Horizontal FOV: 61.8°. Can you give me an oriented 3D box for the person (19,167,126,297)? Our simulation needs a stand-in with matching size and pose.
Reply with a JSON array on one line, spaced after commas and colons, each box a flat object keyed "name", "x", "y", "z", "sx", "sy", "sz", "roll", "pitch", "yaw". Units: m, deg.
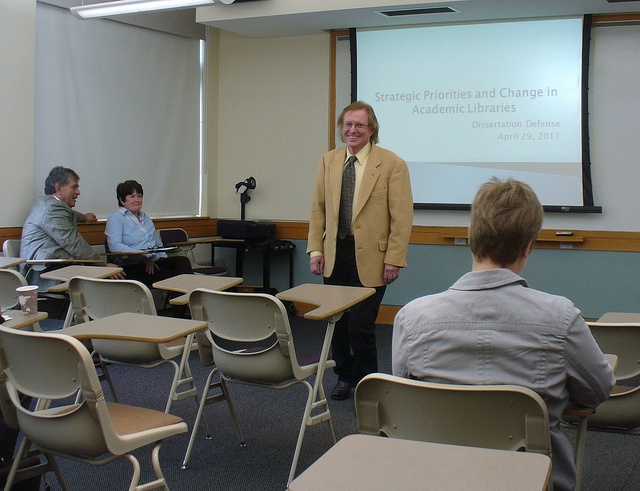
[{"name": "person", "x": -2.089, "y": -0.147, "z": 4.591, "sx": 0.737, "sy": 1.019, "sz": 0.891, "roll": 0, "pitch": -2, "yaw": 3}]

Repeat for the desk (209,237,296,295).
[{"name": "desk", "x": -0.758, "y": 0.228, "z": 5.920, "sx": 0.757, "sy": 0.647, "sz": 0.453, "roll": 3, "pitch": 12, "yaw": 29}]

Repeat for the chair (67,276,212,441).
[{"name": "chair", "x": -0.756, "y": 0.464, "z": 2.183, "sx": 0.524, "sy": 0.290, "sz": 0.376, "roll": 0, "pitch": 6, "yaw": 21}]

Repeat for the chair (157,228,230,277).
[{"name": "chair", "x": -1.297, "y": 0.058, "z": 5.702, "sx": 0.562, "sy": 0.847, "sz": 0.497, "roll": -1, "pitch": 0, "yaw": 37}]

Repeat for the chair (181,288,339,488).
[{"name": "chair", "x": -0.305, "y": 0.576, "z": 2.943, "sx": 0.756, "sy": 1.209, "sz": 0.894, "roll": 2, "pitch": 5, "yaw": 21}]

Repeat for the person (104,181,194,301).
[{"name": "person", "x": -1.629, "y": -0.040, "z": 5.087, "sx": 0.790, "sy": 1.320, "sz": 0.661, "roll": -3, "pitch": -3, "yaw": 29}]

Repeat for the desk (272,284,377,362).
[{"name": "desk", "x": 0.028, "y": 0.422, "z": 2.609, "sx": 0.353, "sy": 0.267, "sz": 0.400, "roll": 5, "pitch": 20, "yaw": 31}]
